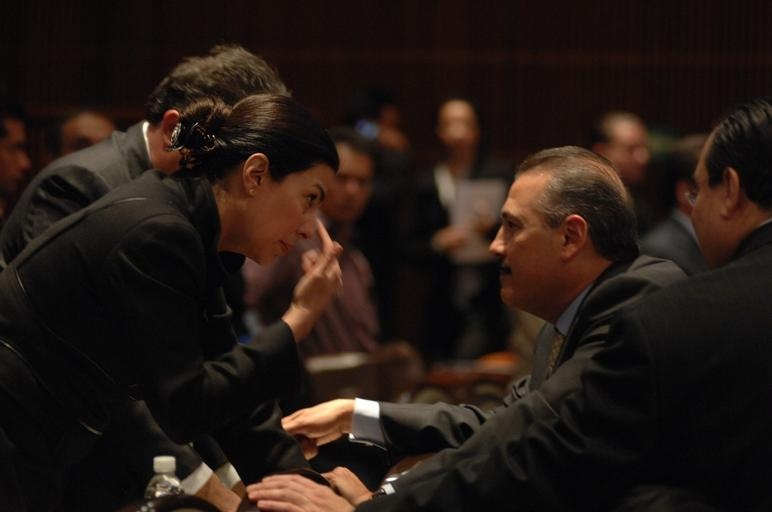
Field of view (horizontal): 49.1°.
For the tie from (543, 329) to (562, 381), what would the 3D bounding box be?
[{"bbox_3d":[0.712,0.422,3.564,0.075,0.194,0.352,1,8,11],"label":"tie"}]
